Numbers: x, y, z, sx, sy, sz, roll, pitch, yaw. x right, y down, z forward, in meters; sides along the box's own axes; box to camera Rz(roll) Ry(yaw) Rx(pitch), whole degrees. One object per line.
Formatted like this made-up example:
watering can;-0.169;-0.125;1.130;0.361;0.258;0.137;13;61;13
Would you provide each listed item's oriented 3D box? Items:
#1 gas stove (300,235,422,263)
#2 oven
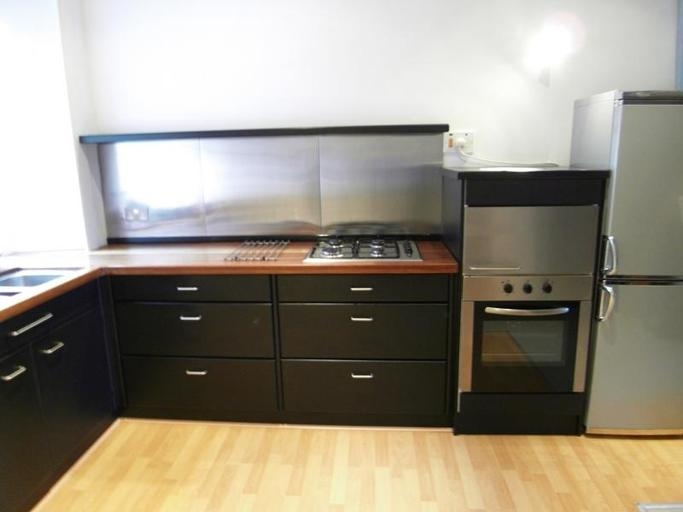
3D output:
gas stove;0.127;-0.045;3.328;0.676;0.035;0.469;-1;16;0
oven;0.975;0.416;3.347;0.803;0.881;0.585;0;8;4
